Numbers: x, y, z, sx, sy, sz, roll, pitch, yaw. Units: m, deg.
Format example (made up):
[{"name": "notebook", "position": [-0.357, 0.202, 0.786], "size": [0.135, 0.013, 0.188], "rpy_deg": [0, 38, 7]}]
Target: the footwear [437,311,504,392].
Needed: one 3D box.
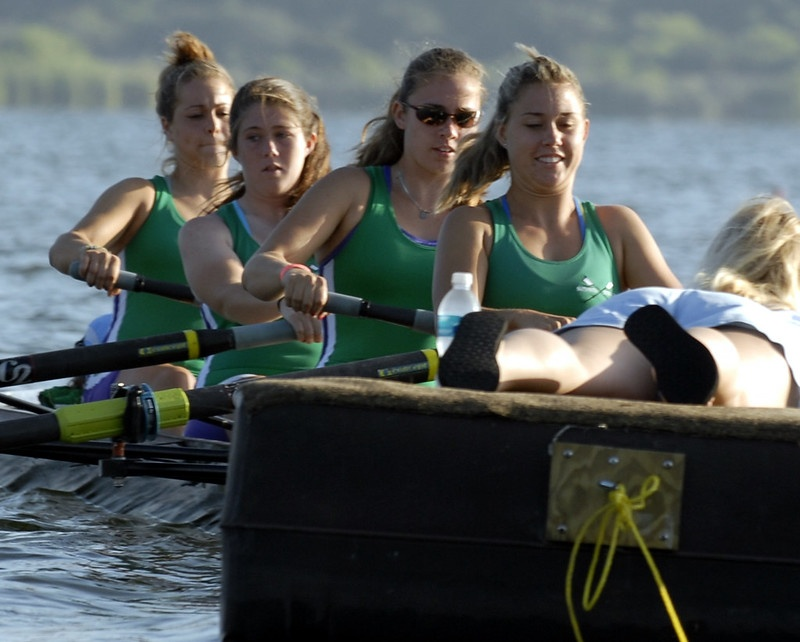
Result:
[{"name": "footwear", "position": [0.187, 0.078, 3.812], "size": [0.163, 0.059, 0.204], "rpy_deg": [8, 48, 17]}]

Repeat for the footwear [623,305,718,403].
[{"name": "footwear", "position": [0.728, 0.096, 3.934], "size": [0.287, 0.176, 0.064], "rpy_deg": [53, 19, 25]}]

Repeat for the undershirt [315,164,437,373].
[{"name": "undershirt", "position": [-0.102, -0.185, 5.479], "size": [0.370, 0.731, 0.357], "rpy_deg": [-4, 19, -31]}]

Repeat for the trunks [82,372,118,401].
[{"name": "trunks", "position": [-1.170, 0.258, 5.788], "size": [0.167, 0.122, 0.054], "rpy_deg": [-4, -23, 32]}]
